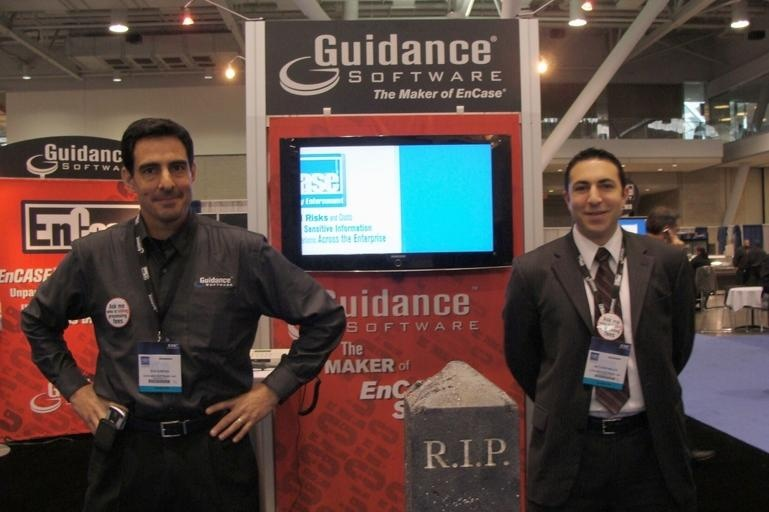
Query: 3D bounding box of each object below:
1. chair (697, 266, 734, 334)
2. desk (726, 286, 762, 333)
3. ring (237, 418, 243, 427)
[{"bbox_3d":[5.643,0.741,12.322,0.585,1.068,0.915,0,5,25],"label":"chair"},{"bbox_3d":[6.119,0.921,12.202,0.698,0.711,0.705,4,-9,-31],"label":"desk"},{"bbox_3d":[-0.885,1.015,4.379,0.051,0.050,0.013,4,-3,-12],"label":"ring"}]
